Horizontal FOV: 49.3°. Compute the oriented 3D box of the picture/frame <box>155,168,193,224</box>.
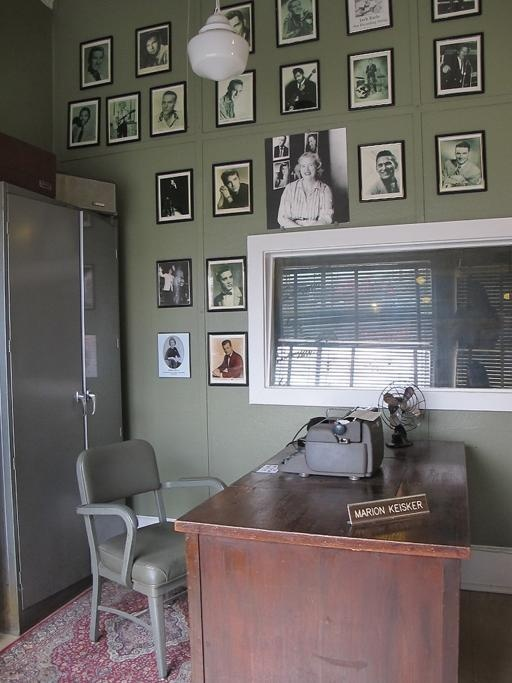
[{"bbox_3d":[-0.519,-0.950,3.638,0.334,0.436,0.028,1,3,28],"label":"picture/frame"}]

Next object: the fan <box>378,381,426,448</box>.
[{"bbox_3d":[0.789,0.398,3.016,0.248,0.308,0.403,-2,-1,13],"label":"fan"}]

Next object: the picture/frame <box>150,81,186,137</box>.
[{"bbox_3d":[-0.561,-1.522,3.652,0.342,0.435,0.030,2,3,29],"label":"picture/frame"}]

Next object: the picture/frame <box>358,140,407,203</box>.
[{"bbox_3d":[0.734,-0.968,3.182,0.330,0.448,0.029,1,4,25],"label":"picture/frame"}]

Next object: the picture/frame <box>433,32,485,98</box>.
[{"bbox_3d":[1.123,-1.514,3.048,0.344,0.446,0.025,1,3,24],"label":"picture/frame"}]

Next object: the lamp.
[{"bbox_3d":[-0.156,-1.238,2.216,0.194,0.357,0.212,0,-2,-41],"label":"lamp"}]

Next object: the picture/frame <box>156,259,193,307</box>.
[{"bbox_3d":[-0.518,-0.378,3.643,0.285,0.388,0.025,0,-1,20],"label":"picture/frame"}]

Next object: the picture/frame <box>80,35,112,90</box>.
[{"bbox_3d":[-1.087,-1.924,3.844,0.349,0.450,0.030,2,3,27],"label":"picture/frame"}]

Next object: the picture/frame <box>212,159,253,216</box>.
[{"bbox_3d":[-0.133,-0.961,3.492,0.331,0.437,0.031,1,3,25],"label":"picture/frame"}]

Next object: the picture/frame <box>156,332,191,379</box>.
[{"bbox_3d":[-0.526,0.095,3.652,0.273,0.389,0.023,1,4,24],"label":"picture/frame"}]

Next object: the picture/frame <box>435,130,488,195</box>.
[{"bbox_3d":[1.135,-0.975,3.044,0.332,0.449,0.029,0,4,24],"label":"picture/frame"}]

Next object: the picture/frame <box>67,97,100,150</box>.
[{"bbox_3d":[-1.179,-1.510,3.868,0.346,0.452,0.023,0,-3,22],"label":"picture/frame"}]
